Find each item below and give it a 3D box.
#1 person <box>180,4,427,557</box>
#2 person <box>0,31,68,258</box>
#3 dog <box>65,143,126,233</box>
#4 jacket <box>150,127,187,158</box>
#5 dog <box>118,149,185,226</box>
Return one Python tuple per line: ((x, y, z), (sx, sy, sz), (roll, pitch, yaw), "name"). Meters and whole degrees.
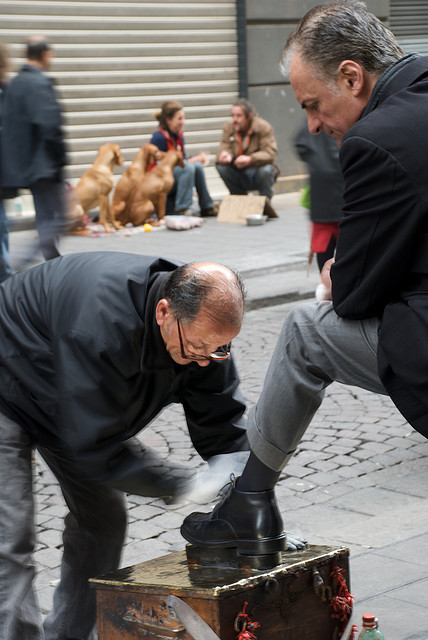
((0.322, -0.049, 1.976), (0.650, 1.490, 0.444), (8, 18, 43), "person")
((-1.518, -1.442, 6.462), (0.509, 1.816, 0.511), (-10, 14, -21), "person")
((-1.660, -1.866, 10.898), (0.561, 1.269, 1.027), (-2, 12, 12), "dog")
((-0.627, -2.681, 11.791), (0.656, 0.527, 0.363), (-7, 7, -36), "jacket")
((-0.913, -1.960, 11.431), (1.175, 1.165, 0.476), (-15, 59, -40), "dog")
